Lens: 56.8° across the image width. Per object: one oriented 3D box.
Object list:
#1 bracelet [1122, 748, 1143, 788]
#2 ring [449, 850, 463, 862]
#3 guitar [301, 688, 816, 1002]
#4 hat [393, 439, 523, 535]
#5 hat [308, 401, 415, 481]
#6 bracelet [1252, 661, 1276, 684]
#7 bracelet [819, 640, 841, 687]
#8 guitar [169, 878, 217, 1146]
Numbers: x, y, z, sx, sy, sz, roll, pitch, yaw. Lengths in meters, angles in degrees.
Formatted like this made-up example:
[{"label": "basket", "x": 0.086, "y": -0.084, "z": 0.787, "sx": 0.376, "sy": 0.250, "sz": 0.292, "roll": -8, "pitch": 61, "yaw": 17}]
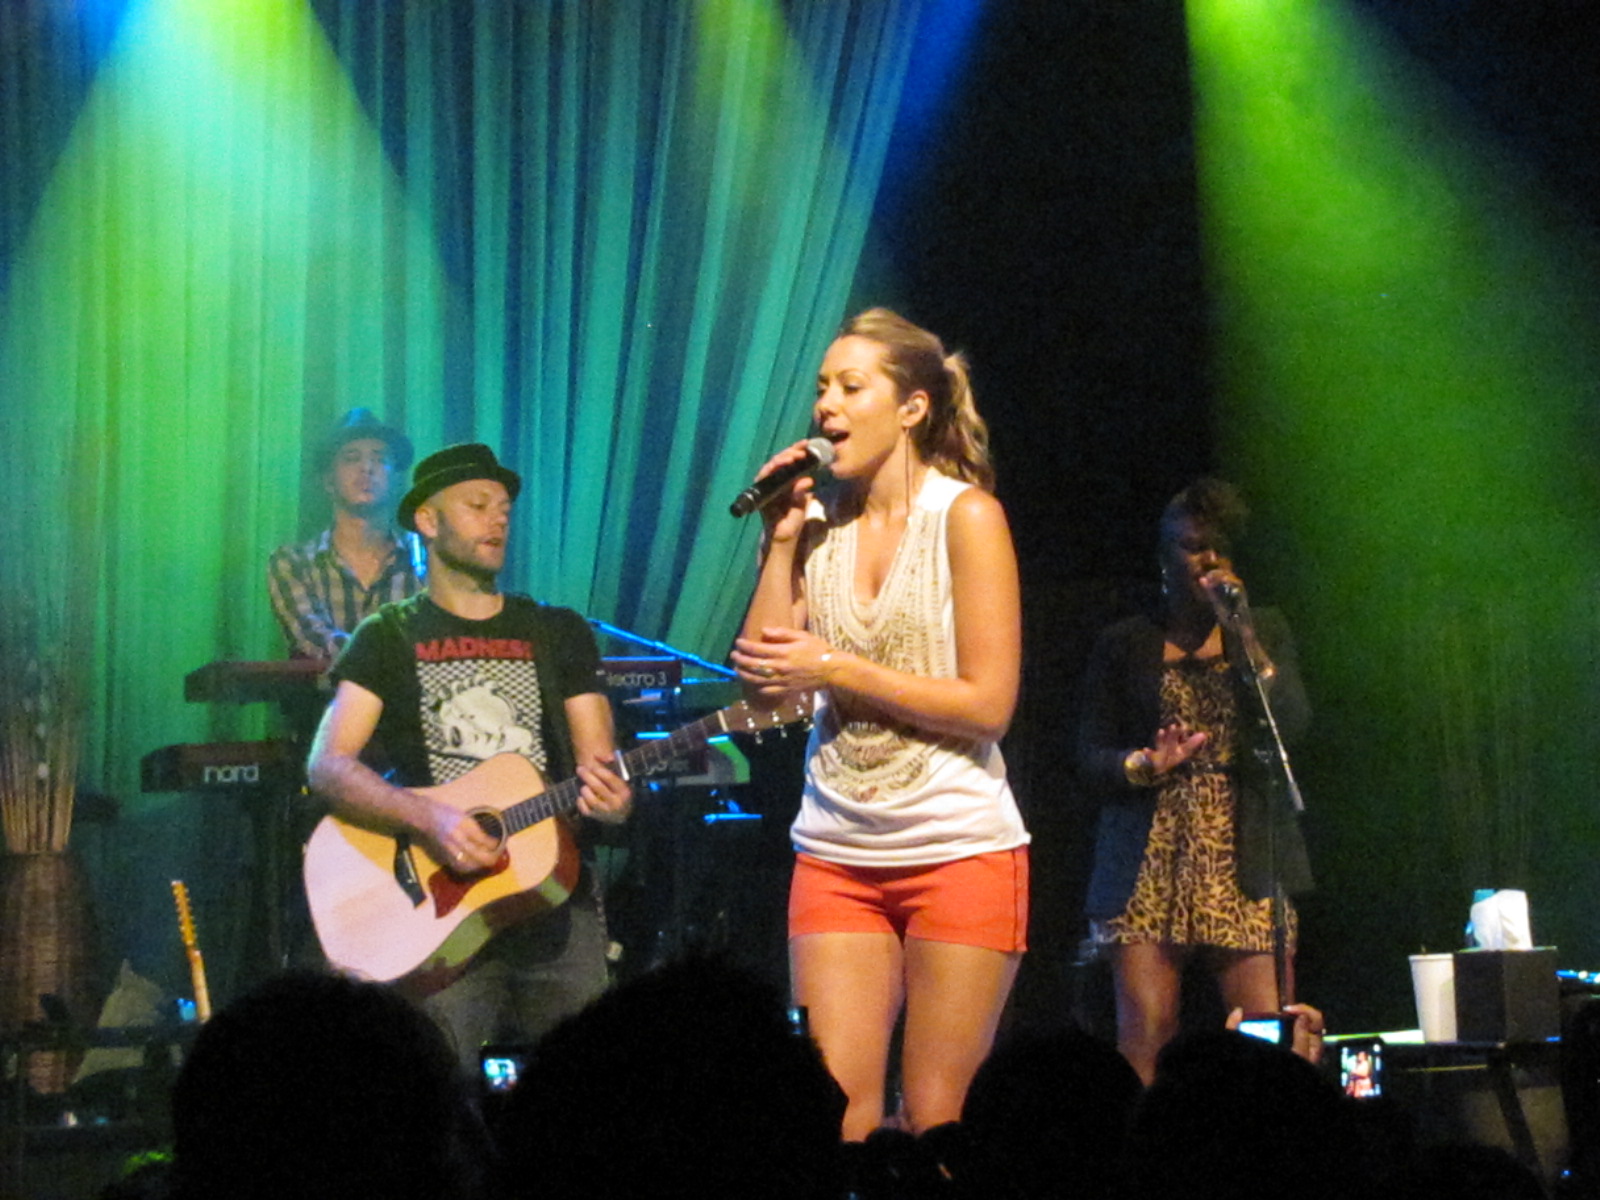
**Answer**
[{"label": "bracelet", "x": 1.033, "y": 0.525, "z": 4.582, "sx": 0.081, "sy": 0.084, "sz": 0.085, "roll": -4, "pitch": -13, "yaw": 4}, {"label": "ring", "x": -0.967, "y": 0.713, "z": 4.112, "sx": 0.031, "sy": 0.034, "sz": 0.008, "roll": 0, "pitch": 2, "yaw": -6}, {"label": "guitar", "x": -0.982, "y": 0.708, "z": 4.689, "sx": 0.183, "sy": 0.610, "sz": 1.480, "roll": 0, "pitch": 4, "yaw": 16}, {"label": "hat", "x": -1.083, "y": -0.353, "z": 4.580, "sx": 0.300, "sy": 0.104, "sz": 0.277, "roll": -23, "pitch": -20, "yaw": 1}, {"label": "hat", "x": -1.854, "y": -0.645, "z": 6.139, "sx": 0.327, "sy": 0.151, "sz": 0.392, "roll": -4, "pitch": -28, "yaw": -14}, {"label": "bracelet", "x": 1.424, "y": 0.225, "z": 4.534, "sx": 0.057, "sy": 0.045, "sz": 0.058, "roll": 1, "pitch": 1, "yaw": -10}, {"label": "bracelet", "x": 0.059, "y": 0.137, "z": 3.340, "sx": 0.023, "sy": 0.079, "sz": 0.056, "roll": 6, "pitch": -4, "yaw": -20}, {"label": "guitar", "x": -2.062, "y": 1.231, "z": 5.009, "sx": 0.070, "sy": 0.662, "sz": 0.060, "roll": -3, "pitch": 34, "yaw": -13}]
